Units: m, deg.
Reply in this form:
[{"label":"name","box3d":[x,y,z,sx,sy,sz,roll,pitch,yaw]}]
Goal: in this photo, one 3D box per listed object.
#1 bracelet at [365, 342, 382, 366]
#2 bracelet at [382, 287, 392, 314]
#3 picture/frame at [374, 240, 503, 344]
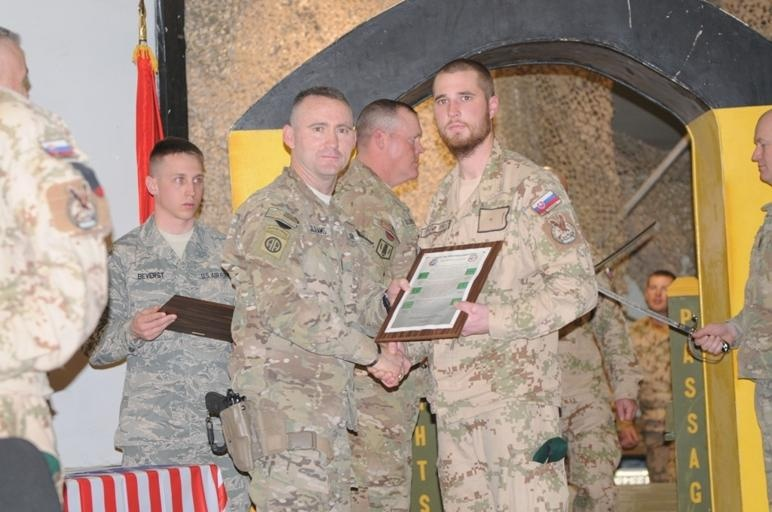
[{"label":"bracelet","box3d":[-0.086,0.534,5.146,0.028,0.105,0.109,15,21,-4]},{"label":"bracelet","box3d":[0.013,0.257,5.389,0.035,0.104,0.079,-14,9,-19]},{"label":"picture/frame","box3d":[0.313,0.213,5.199,0.748,0.879,0.061,6,-45,29]}]
